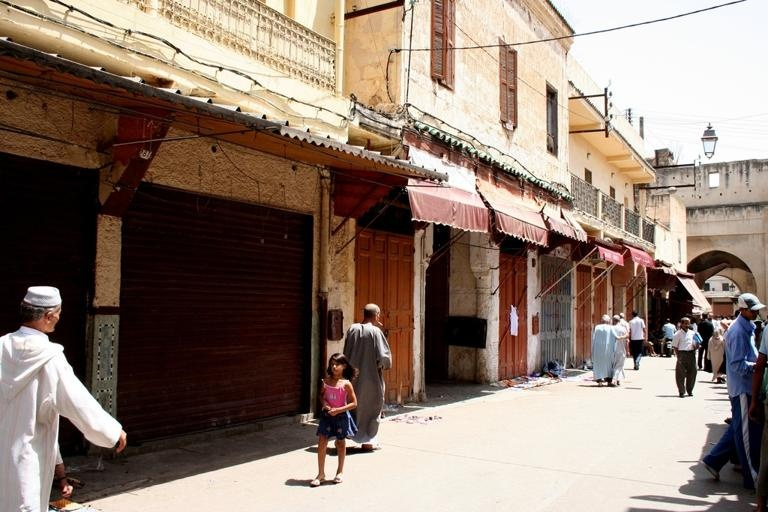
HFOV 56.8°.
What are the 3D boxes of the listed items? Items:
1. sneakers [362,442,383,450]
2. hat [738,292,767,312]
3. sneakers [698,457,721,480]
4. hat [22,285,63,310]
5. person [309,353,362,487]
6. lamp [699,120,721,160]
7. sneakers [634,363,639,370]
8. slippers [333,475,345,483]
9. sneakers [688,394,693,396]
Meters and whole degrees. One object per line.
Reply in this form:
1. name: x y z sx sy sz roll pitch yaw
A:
1. sneakers: -0.175 2.869 10.686 0.245 0.101 0.124 -2 -2 -2
2. hat: 4.947 0.627 9.535 0.326 0.167 0.240 -1 0 40
3. sneakers: 4.414 2.911 9.689 0.158 0.375 0.127 -43 11 -7
4. hat: -3.463 0.422 7.214 0.278 0.107 0.263 5 10 -24
5. person: -0.650 2.136 9.492 0.543 1.624 0.894 2 2 -2
6. lamp: 10.975 -3.920 24.003 0.610 1.268 0.635 8 -10 -37
7. sneakers: 7.956 3.506 22.366 0.202 0.217 0.170 0 -10 -1
8. slippers: -0.590 2.903 9.226 0.129 0.088 0.097 2 1 -7
9. sneakers: 6.994 3.172 16.152 0.077 0.075 0.112 -2 -9 -3
